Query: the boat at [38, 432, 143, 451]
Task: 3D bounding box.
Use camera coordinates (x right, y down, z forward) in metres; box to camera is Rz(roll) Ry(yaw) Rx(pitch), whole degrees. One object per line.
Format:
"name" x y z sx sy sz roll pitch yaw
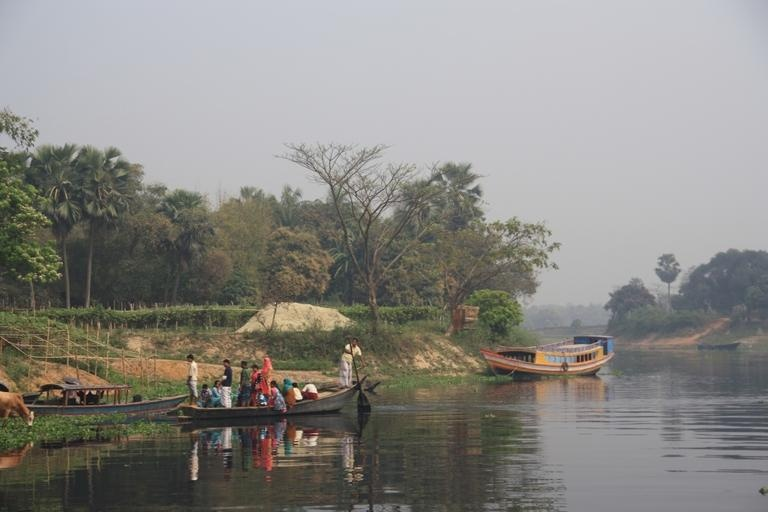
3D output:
"boat" -21.200 13.265 100.938 6.384 0.169 1.796 -2 13 -17

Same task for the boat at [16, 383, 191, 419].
"boat" -21.649 10.549 107.645 10.501 2.657 4.023 -1 13 -13

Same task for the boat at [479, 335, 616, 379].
"boat" 15.866 9.674 131.648 12.561 3.180 4.818 5 -9 -36
